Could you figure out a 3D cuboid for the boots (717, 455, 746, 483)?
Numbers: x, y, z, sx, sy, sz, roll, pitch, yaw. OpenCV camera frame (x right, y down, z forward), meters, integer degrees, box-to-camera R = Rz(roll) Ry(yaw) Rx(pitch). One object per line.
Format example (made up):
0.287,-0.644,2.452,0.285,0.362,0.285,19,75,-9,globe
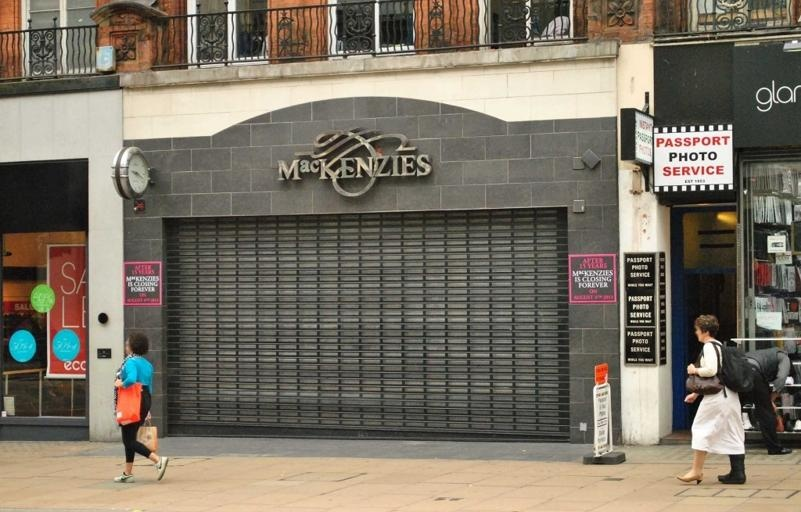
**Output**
5.744,3.733,29.862,0.470,0.507,0.365,-2,-2,9,boots

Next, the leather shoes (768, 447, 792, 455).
6.962,3.605,31.615,0.504,0.156,0.152,-3,1,-10,leather shoes

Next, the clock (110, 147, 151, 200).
-5.370,-1.711,34.340,0.395,1.078,0.939,-3,-2,17,clock

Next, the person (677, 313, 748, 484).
5.405,2.514,29.846,1.015,2.959,0.448,-3,-2,8,person

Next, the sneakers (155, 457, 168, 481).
-4.307,3.903,30.945,0.277,0.470,0.172,14,28,1,sneakers

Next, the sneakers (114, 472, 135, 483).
-4.976,4.057,31.043,0.398,0.149,0.140,1,-2,6,sneakers

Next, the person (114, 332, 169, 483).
-4.733,2.752,31.031,0.935,2.703,0.744,-2,-2,-8,person

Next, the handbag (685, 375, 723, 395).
5.276,2.222,30.020,0.715,0.309,0.631,-7,6,7,handbag
